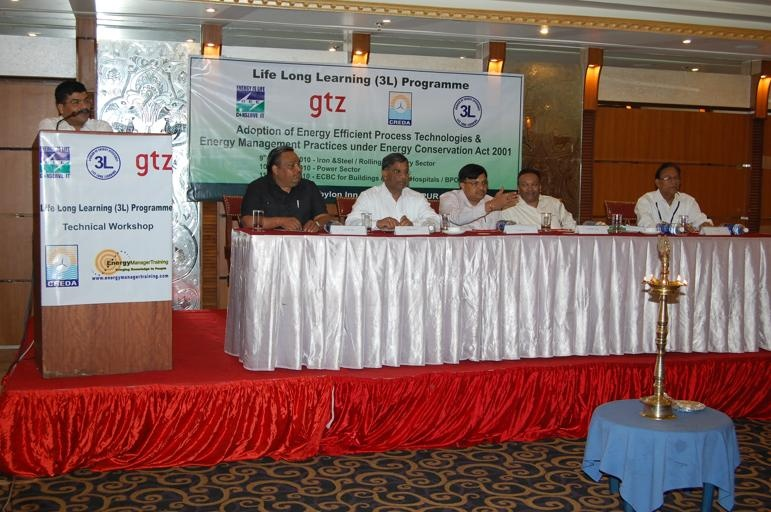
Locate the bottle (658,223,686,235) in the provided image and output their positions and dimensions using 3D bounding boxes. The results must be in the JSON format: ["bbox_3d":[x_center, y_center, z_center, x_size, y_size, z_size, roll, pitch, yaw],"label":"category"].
[{"bbox_3d":[2.191,-0.206,5.308,0.109,0.056,0.145,2,7,4],"label":"bottle"}]

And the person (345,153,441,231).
[{"bbox_3d":[0.062,-0.479,5.682,0.863,0.674,0.610,2,5,-13],"label":"person"}]

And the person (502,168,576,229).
[{"bbox_3d":[1.327,-0.443,6.303,0.756,0.638,0.400,-8,9,-10],"label":"person"}]

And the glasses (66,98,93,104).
[{"bbox_3d":[-2.184,-1.106,4.929,0.055,0.050,0.158,3,5,40],"label":"glasses"}]

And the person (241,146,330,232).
[{"bbox_3d":[-0.715,-0.496,5.497,0.831,0.716,0.733,-6,10,-41],"label":"person"}]

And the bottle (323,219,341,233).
[{"bbox_3d":[-0.391,-0.229,4.926,0.155,0.074,0.206,1,1,2],"label":"bottle"}]

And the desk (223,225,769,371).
[{"bbox_3d":[0.888,0.296,4.932,3.722,0.926,0.315,-1,4,-6],"label":"desk"}]

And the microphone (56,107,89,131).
[{"bbox_3d":[-2.230,-0.989,4.986,0.213,0.103,0.213,-13,11,31],"label":"microphone"}]

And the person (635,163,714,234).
[{"bbox_3d":[2.562,-0.487,6.167,0.706,0.759,0.747,-1,0,-4],"label":"person"}]

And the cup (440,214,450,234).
[{"bbox_3d":[0.463,-0.235,5.139,0.086,0.145,0.143,-1,2,-22],"label":"cup"}]

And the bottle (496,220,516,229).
[{"bbox_3d":[0.885,-0.233,5.068,0.104,0.071,0.090,-1,1,-20],"label":"bottle"}]

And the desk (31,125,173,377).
[{"bbox_3d":[-1.779,-0.053,4.925,0.878,1.527,0.857,-3,-4,3],"label":"desk"}]
